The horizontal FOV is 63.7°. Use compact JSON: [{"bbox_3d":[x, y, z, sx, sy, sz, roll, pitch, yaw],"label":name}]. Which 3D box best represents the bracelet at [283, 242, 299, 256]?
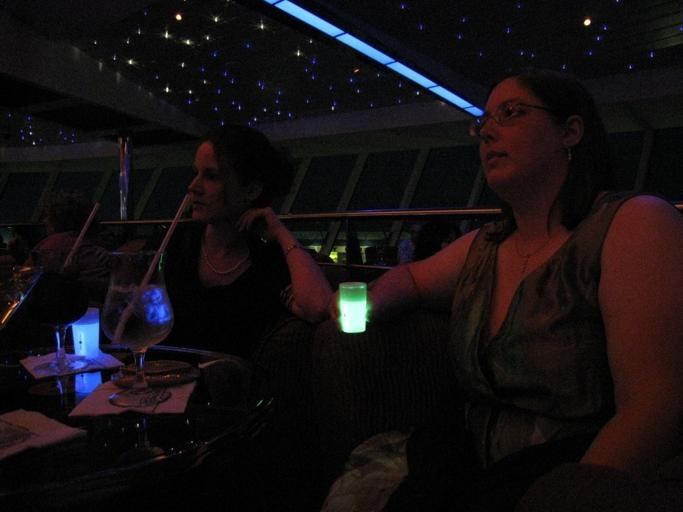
[{"bbox_3d":[-0.219,-0.033,2.392,0.063,0.035,0.065,-35,-9,35],"label":"bracelet"}]
